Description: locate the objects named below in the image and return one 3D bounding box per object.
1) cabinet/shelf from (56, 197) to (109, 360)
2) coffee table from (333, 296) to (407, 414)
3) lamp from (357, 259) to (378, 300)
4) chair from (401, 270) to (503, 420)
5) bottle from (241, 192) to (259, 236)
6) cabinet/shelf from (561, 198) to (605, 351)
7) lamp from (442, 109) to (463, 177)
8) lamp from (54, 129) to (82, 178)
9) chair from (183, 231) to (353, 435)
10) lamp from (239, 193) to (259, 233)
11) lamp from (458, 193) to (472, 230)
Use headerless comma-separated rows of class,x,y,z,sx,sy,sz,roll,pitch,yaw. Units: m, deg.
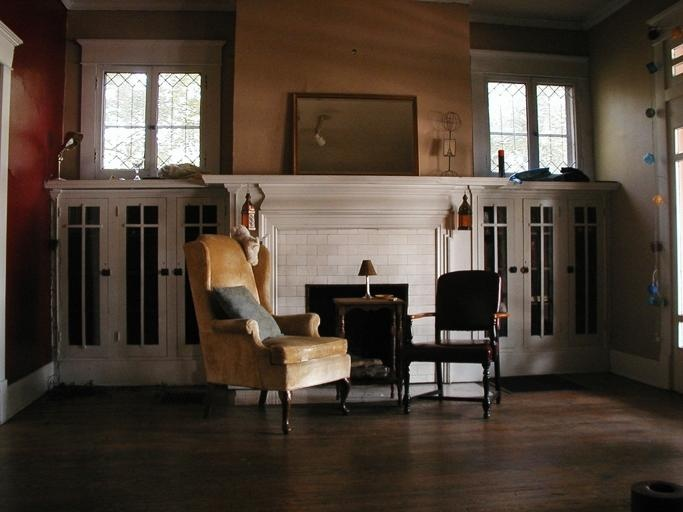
cabinet/shelf,-2.579,0.208,6.352,0.458,1.664,0.191,1,10,-16
coffee table,0.381,0.848,6.024,0.823,1.292,0.838,0,-7,-3
lamp,0.242,0.215,6.073,0.181,0.339,0.183,-1,-2,-10
chair,1.025,0.717,5.601,0.946,1.289,0.946,4,-7,-33
bottle,-0.901,-0.459,6.122,0.143,0.421,0.141,3,28,-2
cabinet/shelf,2.597,0.149,6.822,0.375,1.578,0.195,1,-4,-1
lamp,1.099,-1.129,6.506,0.237,0.686,0.214,2,1,-12
lamp,-2.748,-1.020,6.399,0.258,0.478,0.524,-4,9,-22
chair,-0.652,0.580,5.545,1.290,1.540,1.051,-4,-6,40
lamp,-0.900,-0.422,6.133,0.167,0.385,0.173,-1,8,-10
lamp,1.215,-0.439,6.292,0.132,0.345,0.315,1,9,11
